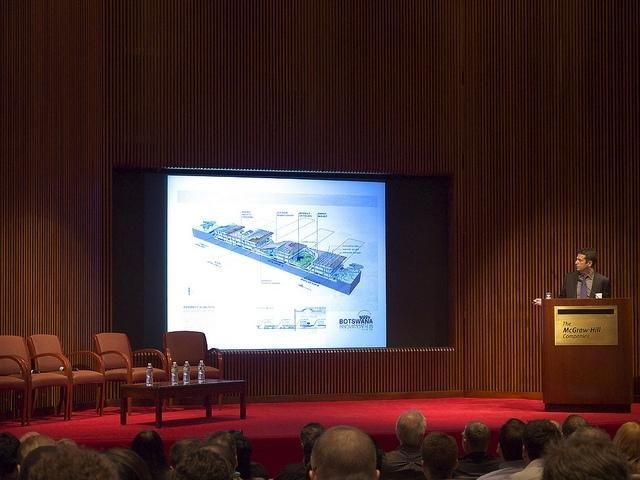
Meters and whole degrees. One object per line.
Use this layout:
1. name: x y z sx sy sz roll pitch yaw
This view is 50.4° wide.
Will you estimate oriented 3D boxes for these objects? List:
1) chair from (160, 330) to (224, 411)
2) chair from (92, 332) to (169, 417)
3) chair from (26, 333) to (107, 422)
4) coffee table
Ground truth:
1. chair: -1.704 1.657 8.839 0.673 0.973 0.591 4 -9 -33
2. chair: -2.419 1.590 8.563 0.749 0.992 0.725 -8 -11 18
3. chair: -3.075 1.619 8.137 0.706 1.136 0.638 -7 -7 19
4. coffee table: -1.646 1.842 7.894 1.420 0.561 1.174 0 -2 -35
